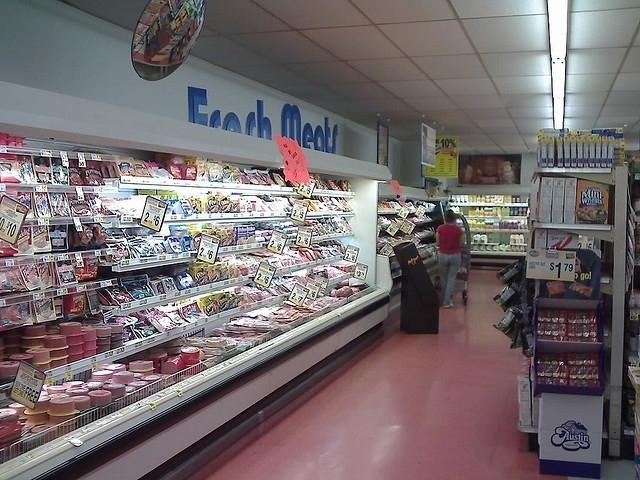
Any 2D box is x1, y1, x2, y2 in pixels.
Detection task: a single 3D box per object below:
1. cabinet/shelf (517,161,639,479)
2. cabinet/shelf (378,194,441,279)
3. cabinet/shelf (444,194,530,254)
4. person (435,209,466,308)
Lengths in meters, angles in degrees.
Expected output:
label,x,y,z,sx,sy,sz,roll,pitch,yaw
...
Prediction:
label,x,y,z,sx,sy,sz,roll,pitch,yaw
cabinet/shelf,1.978,0.585,3.100,0.884,2.311,0.568,1,2,6
cabinet/shelf,1.738,-0.064,7.906,0.754,1.213,2.200,-2,0,23
cabinet/shelf,5.513,-0.469,12.896,2.422,1.757,0.731,0,-7,14
person,2.772,0.372,8.593,0.511,2.033,1.101,1,3,19
